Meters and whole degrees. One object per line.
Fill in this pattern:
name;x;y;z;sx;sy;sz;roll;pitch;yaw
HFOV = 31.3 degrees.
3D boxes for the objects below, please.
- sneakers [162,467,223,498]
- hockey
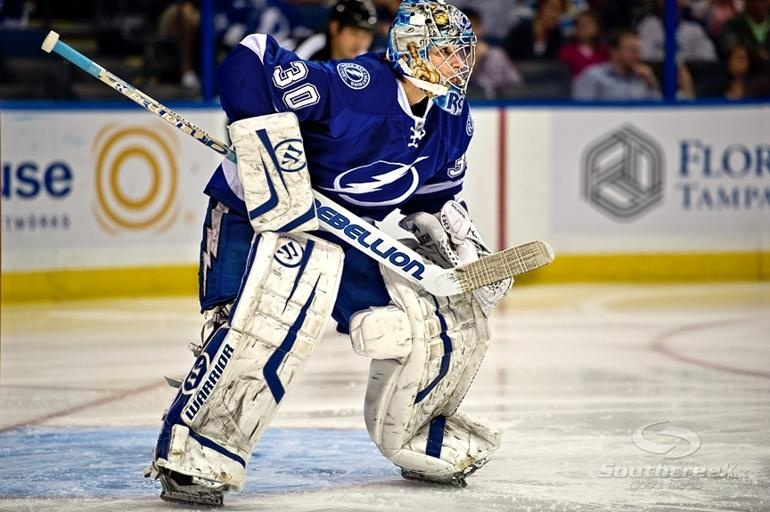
sneakers;-0.834;0.968;5.864;0.187;0.061;0.126;9;-7;-18
hockey;-0.608;-0.454;7.317;3.120;0.432;0.326;30;-10;-5
